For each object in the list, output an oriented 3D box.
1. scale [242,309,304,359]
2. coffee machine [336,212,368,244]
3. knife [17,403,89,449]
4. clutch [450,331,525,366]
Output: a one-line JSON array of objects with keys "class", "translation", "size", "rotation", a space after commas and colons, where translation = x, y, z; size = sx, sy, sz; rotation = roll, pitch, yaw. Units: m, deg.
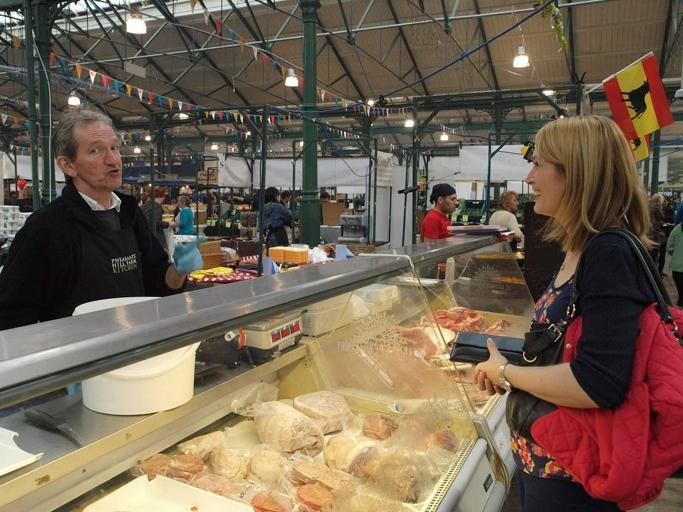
[{"class": "scale", "translation": [-0.225, 0.257, 1.673], "size": [0.159, 0.118, 0.211], "rotation": [3, 8, 28]}, {"class": "coffee machine", "translation": [0.197, -0.561, 9.812], "size": [0.624, 0.689, 0.493], "rotation": [0, -1, 24]}, {"class": "knife", "translation": [-0.733, 0.432, 1.329], "size": [0.150, 0.089, 0.056], "rotation": [7, 11, -1]}, {"class": "clutch", "translation": [0.482, 0.302, 1.682], "size": [0.296, 0.067, 0.266], "rotation": [-1, -1, 26]}]
